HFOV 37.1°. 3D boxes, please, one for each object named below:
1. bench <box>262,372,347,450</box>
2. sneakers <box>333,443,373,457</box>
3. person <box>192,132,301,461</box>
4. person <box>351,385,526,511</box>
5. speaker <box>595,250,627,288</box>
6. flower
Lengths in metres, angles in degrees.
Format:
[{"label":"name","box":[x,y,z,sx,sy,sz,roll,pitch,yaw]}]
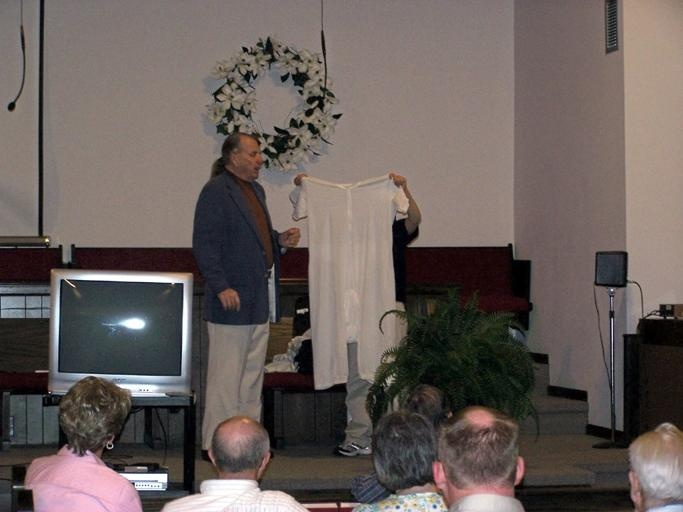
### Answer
[{"label":"bench","box":[-0.350,1.160,8.144,0.796,0.774,0.476,2,-6,-20]},{"label":"sneakers","box":[0.087,1.448,7.633,0.204,0.093,0.118,5,-8,0]},{"label":"person","box":[-0.719,0.248,7.286,0.683,2.184,0.380,-1,-7,-11]},{"label":"person","box":[0.354,1.076,5.942,0.442,0.644,0.788,-7,-9,32]},{"label":"speaker","box":[2.190,0.103,8.214,0.263,0.277,0.477,1,5,23]},{"label":"flower","box":[-0.657,-1.365,9.067,1.203,1.291,0.291,-7,4,-7]}]
